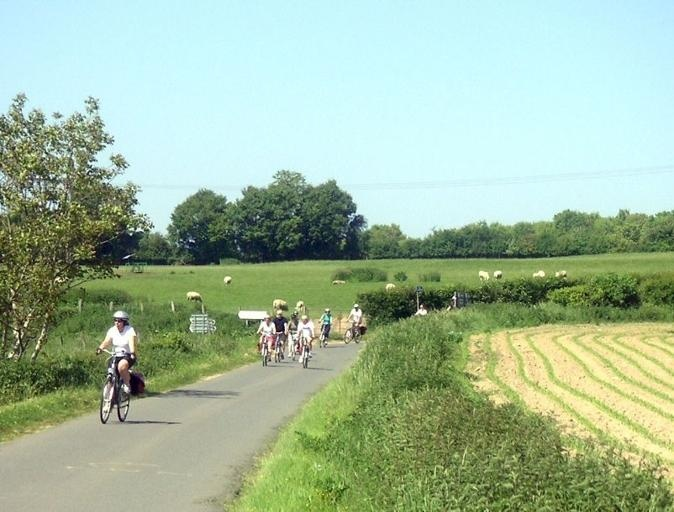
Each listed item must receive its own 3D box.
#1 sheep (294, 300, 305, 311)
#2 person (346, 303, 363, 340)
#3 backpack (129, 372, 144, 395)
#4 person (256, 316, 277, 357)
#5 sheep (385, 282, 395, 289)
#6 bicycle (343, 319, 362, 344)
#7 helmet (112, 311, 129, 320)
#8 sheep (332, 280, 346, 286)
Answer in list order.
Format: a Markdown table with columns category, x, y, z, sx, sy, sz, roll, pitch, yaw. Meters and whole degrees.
| category | x | y | z | sx | sy | sz | roll | pitch | yaw |
| --- | --- | --- | --- | --- | --- | --- | --- | --- | --- |
| sheep | -3.174 | 4.270 | 66.678 | 0.571 | 1.057 | 0.933 | 3 | 7 | 5 |
| person | 0.887 | 4.053 | 45.615 | 0.947 | 1.460 | 2.149 | 0 | -5 | 7 |
| backpack | -5.591 | 3.643 | 22.121 | 0.385 | 0.590 | 0.495 | -2 | -22 | -6 |
| person | -3.036 | 3.447 | 35.106 | 0.796 | 1.273 | 1.833 | 1 | -4 | -3 |
| sheep | 4.731 | 2.617 | 69.053 | 1.141 | 0.792 | 0.325 | -2 | 11 | -9 |
| bicycle | 0.951 | 4.626 | 46.650 | 0.687 | 1.027 | 1.530 | 0 | -5 | 17 |
| helmet | -5.869 | 1.652 | 21.412 | 0.341 | 0.279 | 0.416 | -1 | 0 | -23 |
| sheep | 0.319 | 3.091 | 91.536 | 1.309 | 0.664 | 0.742 | -8 | -24 | 4 |
